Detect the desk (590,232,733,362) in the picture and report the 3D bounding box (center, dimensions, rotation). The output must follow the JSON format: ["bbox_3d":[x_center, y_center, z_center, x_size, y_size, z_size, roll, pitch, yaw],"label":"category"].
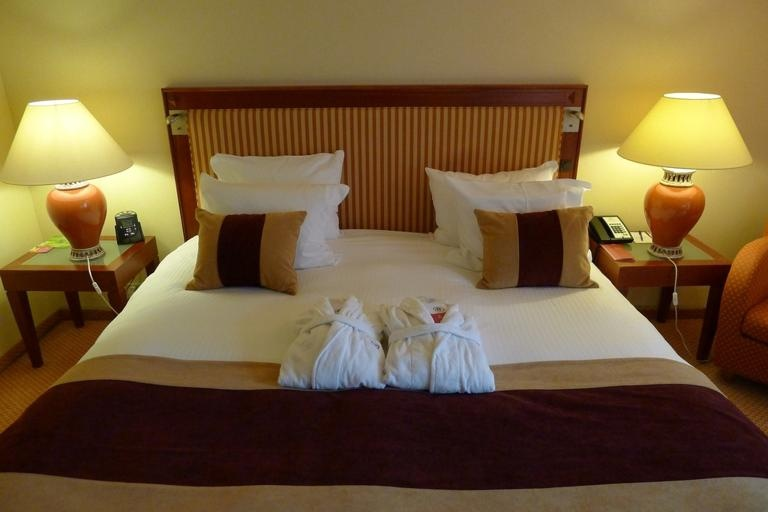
[{"bbox_3d":[1.816,0.239,3.631,0.803,0.649,0.793,-9,19,-4],"label":"desk"}]
